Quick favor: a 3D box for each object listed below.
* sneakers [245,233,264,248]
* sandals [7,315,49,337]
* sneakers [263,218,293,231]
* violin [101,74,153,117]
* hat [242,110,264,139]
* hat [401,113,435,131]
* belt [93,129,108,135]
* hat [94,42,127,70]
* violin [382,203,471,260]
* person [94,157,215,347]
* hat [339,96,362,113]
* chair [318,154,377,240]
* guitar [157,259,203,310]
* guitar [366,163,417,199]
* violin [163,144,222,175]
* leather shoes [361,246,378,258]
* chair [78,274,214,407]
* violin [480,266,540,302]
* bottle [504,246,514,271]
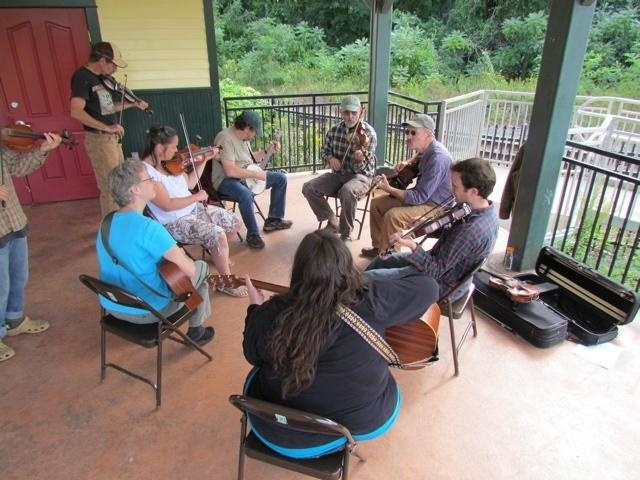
[{"bbox_3d":[-0.741,0.011,5.244,0.230,0.104,0.107,14,23,39],"label":"sneakers"},{"bbox_3d":[-2.552,0.758,4.002,0.272,0.117,0.149,-10,27,-26],"label":"sandals"},{"bbox_3d":[-0.521,-0.202,5.699,0.355,0.164,0.131,-7,26,-15],"label":"sneakers"},{"bbox_3d":[-2.366,-1.782,5.510,0.380,0.235,0.887,28,3,0],"label":"violin"},{"bbox_3d":[-0.753,-1.264,5.058,0.221,0.302,0.357,-3,24,-9],"label":"hat"},{"bbox_3d":[0.964,-1.131,4.461,0.282,0.139,0.198,9,15,-15],"label":"hat"},{"bbox_3d":[-2.411,-1.184,5.069,0.105,0.025,0.080,2,-11,27],"label":"belt"},{"bbox_3d":[-2.351,-2.065,5.155,0.278,0.254,0.555,0,23,-2],"label":"hat"},{"bbox_3d":[0.916,-0.144,3.584,0.839,0.143,0.329,-30,-13,-15],"label":"violin"},{"bbox_3d":[-1.190,0.252,3.331,0.786,1.559,0.579,-12,26,-27],"label":"person"},{"bbox_3d":[0.345,-1.497,5.098,0.221,0.165,0.283,1,23,1],"label":"hat"},{"bbox_3d":[0.312,-0.476,5.157,0.581,0.968,0.669,26,39,24],"label":"chair"},{"bbox_3d":[-1.023,0.325,3.293,0.125,0.322,0.316,-35,26,-12],"label":"guitar"},{"bbox_3d":[0.769,-0.652,4.857,0.565,0.298,0.218,-19,59,-47],"label":"guitar"},{"bbox_3d":[-1.333,-0.772,4.510,0.106,0.223,0.537,-16,18,35],"label":"violin"},{"bbox_3d":[0.544,0.144,5.006,0.212,0.092,0.079,-4,6,20],"label":"leather shoes"},{"bbox_3d":[-1.294,0.784,3.478,0.500,0.839,0.610,16,40,9],"label":"chair"},{"bbox_3d":[1.662,0.397,3.996,0.189,0.110,0.361,-20,37,-31],"label":"violin"},{"bbox_3d":[1.871,0.196,4.540,0.109,0.305,0.110,-5,26,3],"label":"bottle"}]
